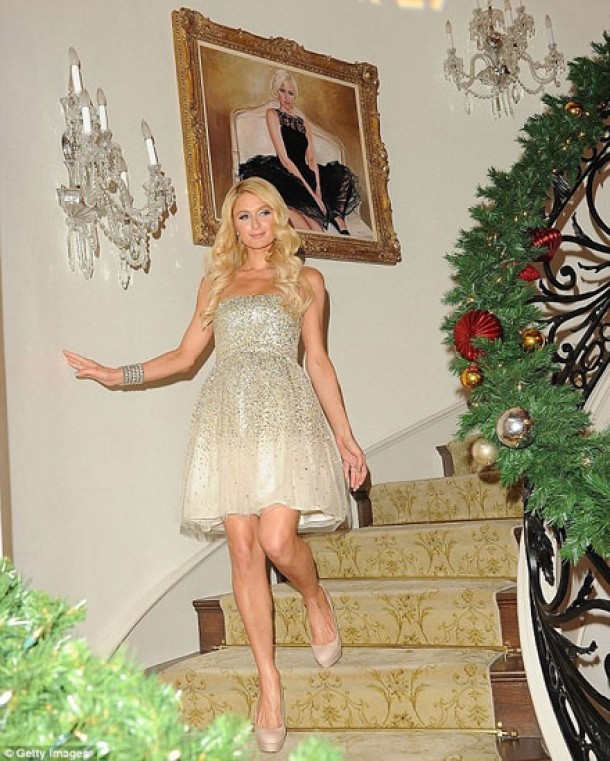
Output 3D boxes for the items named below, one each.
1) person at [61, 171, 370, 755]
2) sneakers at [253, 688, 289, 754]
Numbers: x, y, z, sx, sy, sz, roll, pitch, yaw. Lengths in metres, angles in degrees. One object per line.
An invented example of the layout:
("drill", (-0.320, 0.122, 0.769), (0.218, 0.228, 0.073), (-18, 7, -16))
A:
("person", (-0.124, 0.129, 2.318), (0.638, 1.721, 1.079), (-5, 10, -33))
("sneakers", (-0.103, 0.997, 1.921), (0.063, 0.067, 0.180), (0, 6, -1))
